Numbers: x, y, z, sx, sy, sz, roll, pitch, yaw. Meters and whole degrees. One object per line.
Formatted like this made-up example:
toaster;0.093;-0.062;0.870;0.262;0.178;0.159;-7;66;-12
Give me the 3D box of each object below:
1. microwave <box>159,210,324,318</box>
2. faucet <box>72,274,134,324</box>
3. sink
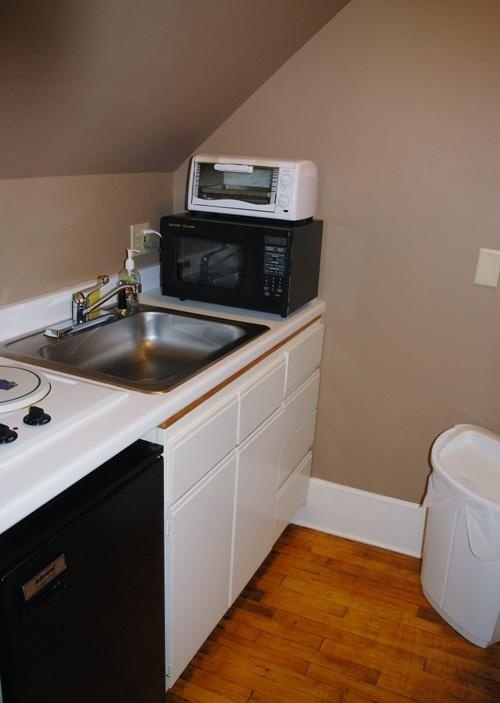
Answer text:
microwave;-0.049;-0.309;1.785;0.605;0.399;0.331;11;19;23
faucet;-0.436;-0.165;1.623;0.078;0.104;0.268;14;22;21
sink;-0.237;0.010;1.553;0.331;0.098;0.372;15;23;24
